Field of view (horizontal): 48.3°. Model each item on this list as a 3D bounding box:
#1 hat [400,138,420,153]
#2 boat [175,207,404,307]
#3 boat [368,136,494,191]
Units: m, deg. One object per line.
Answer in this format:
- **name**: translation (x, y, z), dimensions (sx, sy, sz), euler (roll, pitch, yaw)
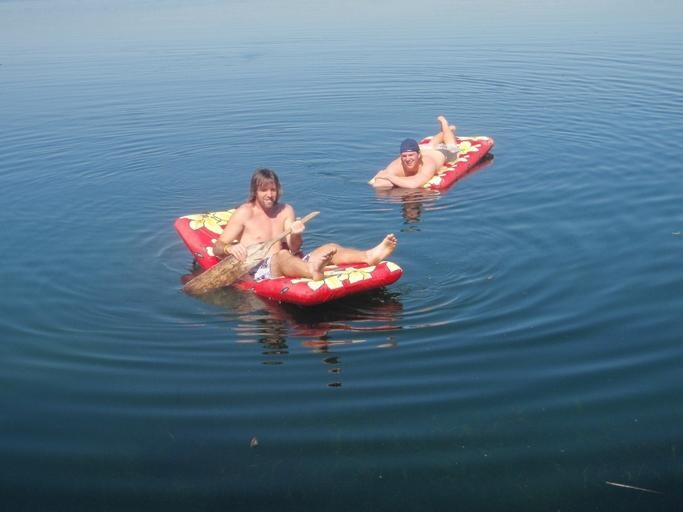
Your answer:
- **hat**: translation (1.235, -2.052, 14.087), dimensions (0.520, 0.224, 0.361), euler (-1, 1, 0)
- **boat**: translation (-1.174, -0.029, 10.382), dimensions (3.227, 0.459, 1.499), euler (10, 17, 35)
- **boat**: translation (2.246, -1.796, 14.627), dimensions (2.708, 0.299, 1.277), euler (-20, 21, -16)
